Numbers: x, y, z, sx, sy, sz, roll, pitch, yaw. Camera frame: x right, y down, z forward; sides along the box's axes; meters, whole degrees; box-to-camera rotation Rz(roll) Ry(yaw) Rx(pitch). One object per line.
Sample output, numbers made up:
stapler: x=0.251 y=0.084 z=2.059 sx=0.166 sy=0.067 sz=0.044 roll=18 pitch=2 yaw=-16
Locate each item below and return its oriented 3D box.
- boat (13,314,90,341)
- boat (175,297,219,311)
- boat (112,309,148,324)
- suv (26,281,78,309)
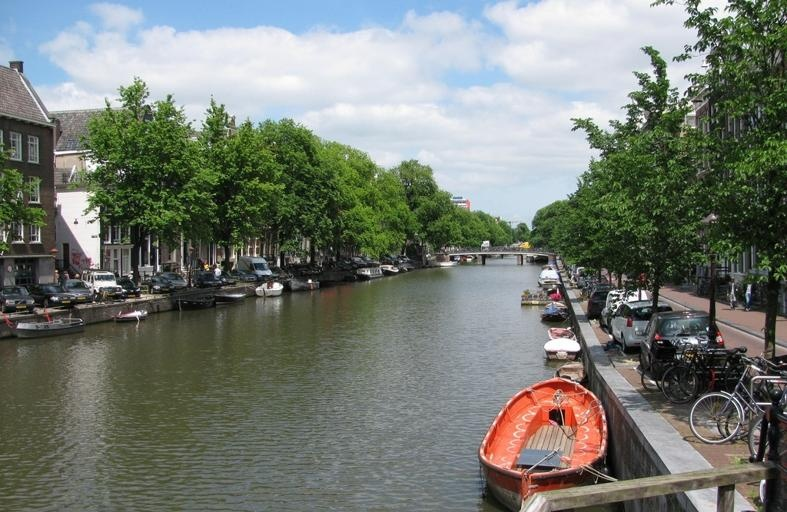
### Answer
boat: x=-20.143 y=4.152 z=47.015 sx=1.781 sy=1.011 sz=4.392 roll=0 pitch=2 yaw=31
boat: x=-14.896 y=3.580 z=60.287 sx=1.190 sy=0.946 sz=3.603 roll=-1 pitch=1 yaw=18
boat: x=-17.311 y=4.088 z=52.636 sx=1.698 sy=0.350 sz=0.684 roll=-8 pitch=17 yaw=-31
suv: x=-21.824 y=2.449 z=50.428 sx=3.365 sy=0.972 sz=1.315 roll=2 pitch=2 yaw=42
